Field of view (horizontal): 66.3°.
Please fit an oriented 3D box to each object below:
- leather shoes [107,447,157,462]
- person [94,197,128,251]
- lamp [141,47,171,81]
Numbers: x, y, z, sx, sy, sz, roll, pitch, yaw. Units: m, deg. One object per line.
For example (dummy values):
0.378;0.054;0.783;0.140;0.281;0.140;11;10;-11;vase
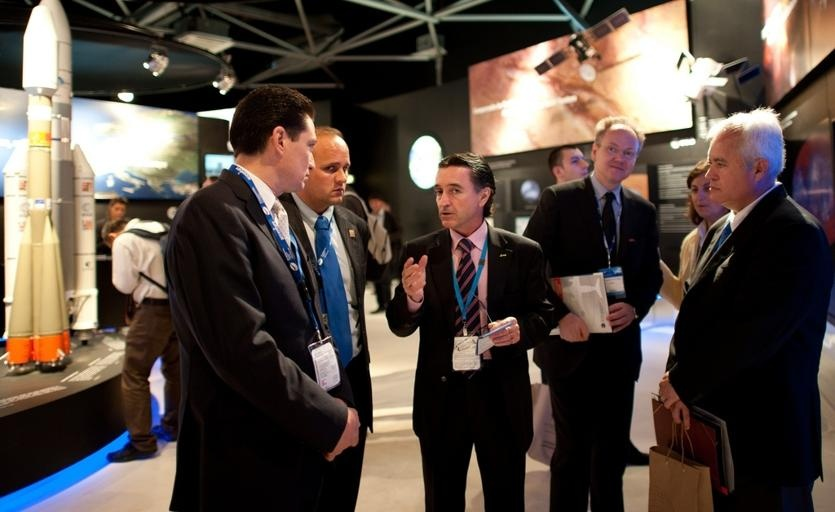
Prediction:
-2.758;1.886;6.163;0.394;0.150;0.165;4;-8;-14;leather shoes
-4.069;-0.334;8.509;0.383;0.936;0.321;9;-7;-37;person
-3.739;-2.776;9.109;0.326;0.470;0.262;28;9;-2;lamp
